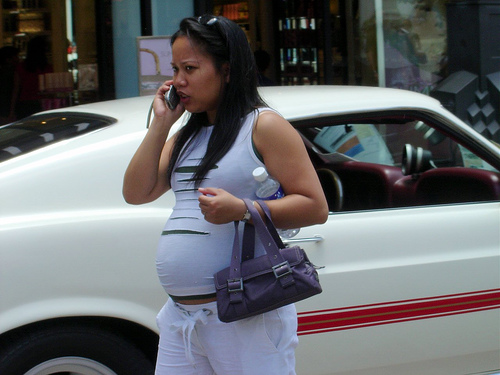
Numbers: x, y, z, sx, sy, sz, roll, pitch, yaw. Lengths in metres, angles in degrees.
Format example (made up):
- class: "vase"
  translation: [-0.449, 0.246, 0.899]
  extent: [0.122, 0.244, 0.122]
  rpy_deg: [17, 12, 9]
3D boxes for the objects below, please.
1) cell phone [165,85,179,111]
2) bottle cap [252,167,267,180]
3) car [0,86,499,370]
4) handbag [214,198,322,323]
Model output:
- class: "cell phone"
  translation: [-0.333, -0.381, 2.134]
  extent: [0.023, 0.100, 0.072]
  rpy_deg: [-3, -15, 22]
- class: "bottle cap"
  translation: [0.036, -0.051, 1.829]
  extent: [0.046, 0.042, 0.060]
  rpy_deg: [-2, 8, 0]
- class: "car"
  translation: [0.154, 0.241, 2.857]
  extent: [2.738, 0.977, 1.629]
  rpy_deg: [-3, 8, -18]
- class: "handbag"
  translation: [0.042, 0.247, 1.895]
  extent: [0.413, 0.481, 0.141]
  rpy_deg: [-19, -32, 7]
